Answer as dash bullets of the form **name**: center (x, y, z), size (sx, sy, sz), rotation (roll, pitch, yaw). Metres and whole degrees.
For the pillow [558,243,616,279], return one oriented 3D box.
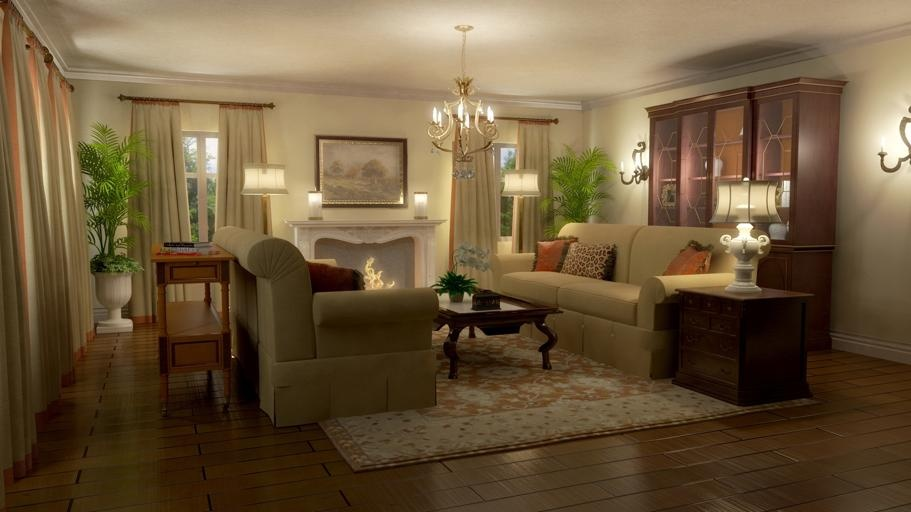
- **pillow**: center (1.823, 0.046, 7.948), size (0.782, 0.440, 0.229), rotation (5, -17, 46)

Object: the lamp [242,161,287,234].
- **lamp**: center (-2.640, -0.808, 8.583), size (0.539, 1.066, 1.018), rotation (-2, 9, -14)

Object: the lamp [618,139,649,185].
- **lamp**: center (3.048, -1.585, 9.909), size (0.184, 0.752, 0.717), rotation (-3, 9, -17)

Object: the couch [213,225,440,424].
- **couch**: center (-1.283, 0.797, 6.080), size (1.817, 1.549, 2.923), rotation (-3, 6, -26)

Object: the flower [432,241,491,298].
- **flower**: center (0.151, 0.195, 7.232), size (0.834, 0.621, 0.768), rotation (-2, 4, 0)

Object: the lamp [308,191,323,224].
- **lamp**: center (-2.099, -0.809, 9.356), size (0.232, 0.457, 0.427), rotation (-2, 9, -12)

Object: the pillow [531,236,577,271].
- **pillow**: center (1.444, -0.023, 8.471), size (0.581, 0.498, 0.166), rotation (2, -21, 33)

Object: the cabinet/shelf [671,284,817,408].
- **cabinet/shelf**: center (3.039, 0.849, 6.524), size (1.267, 1.227, 1.373), rotation (-1, 3, -18)

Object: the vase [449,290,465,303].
- **vase**: center (0.070, 0.492, 6.907), size (0.169, 0.088, 0.156), rotation (0, -4, -1)

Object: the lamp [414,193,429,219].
- **lamp**: center (-0.474, -0.870, 9.913), size (0.232, 0.437, 0.371), rotation (0, 9, -1)

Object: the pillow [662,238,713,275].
- **pillow**: center (2.733, 0.037, 6.876), size (0.587, 0.384, 0.441), rotation (-7, 11, -41)

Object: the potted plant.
- **potted plant**: center (-4.678, -0.444, 8.480), size (0.867, 2.976, 1.011), rotation (-5, 10, -25)

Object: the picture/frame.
- **picture/frame**: center (-1.450, -1.388, 9.741), size (1.844, 1.216, 0.056), rotation (5, 10, 27)
